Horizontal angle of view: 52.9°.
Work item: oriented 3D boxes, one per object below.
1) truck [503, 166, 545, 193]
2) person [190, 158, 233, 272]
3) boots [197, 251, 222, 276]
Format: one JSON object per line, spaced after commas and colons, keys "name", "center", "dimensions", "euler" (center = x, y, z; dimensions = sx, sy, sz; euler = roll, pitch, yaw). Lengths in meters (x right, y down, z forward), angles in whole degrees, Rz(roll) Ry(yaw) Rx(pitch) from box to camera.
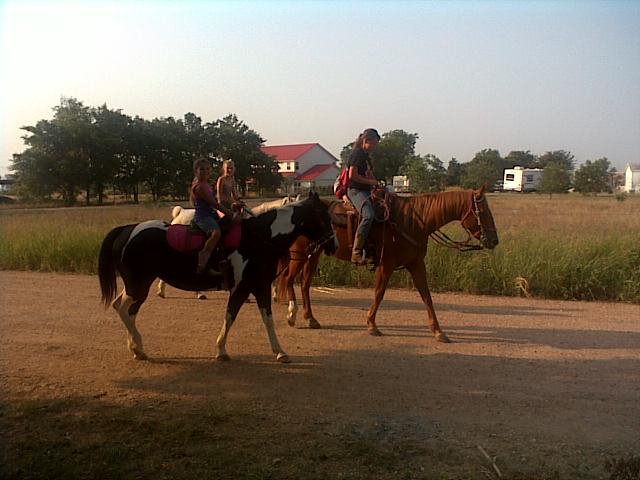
{"name": "truck", "center": [25.212, -7.464, 78.732], "dimensions": [4.210, 2.399, 2.941], "euler": [-7, 11, -39]}
{"name": "person", "center": [-1.848, -0.421, 10.718], "dimensions": [0.567, 1.819, 0.743], "euler": [-2, 11, -12]}
{"name": "boots", "center": [-1.853, 0.421, 10.578], "dimensions": [0.244, 0.432, 0.431], "euler": [2, -5, 20]}
